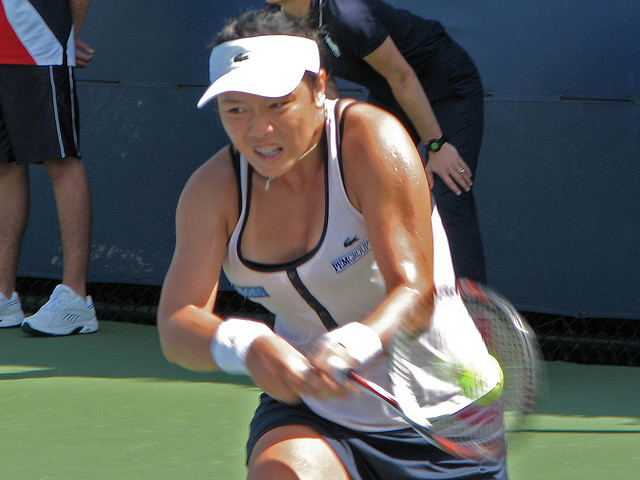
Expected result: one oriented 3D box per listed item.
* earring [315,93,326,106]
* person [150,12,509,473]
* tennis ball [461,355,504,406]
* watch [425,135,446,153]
[{"bbox_3d":[-0.003,-0.373,1.833,0.018,0.008,0.036,36,38,-19],"label":"earring"},{"bbox_3d":[0.025,0.081,1.887,0.885,1.506,0.687,-2,19,-41],"label":"person"},{"bbox_3d":[0.432,0.371,1.819,0.125,0.129,0.045,-4,9,-32],"label":"tennis ball"},{"bbox_3d":[0.485,-0.400,2.908,0.073,0.053,0.079,-33,0,-22],"label":"watch"}]
